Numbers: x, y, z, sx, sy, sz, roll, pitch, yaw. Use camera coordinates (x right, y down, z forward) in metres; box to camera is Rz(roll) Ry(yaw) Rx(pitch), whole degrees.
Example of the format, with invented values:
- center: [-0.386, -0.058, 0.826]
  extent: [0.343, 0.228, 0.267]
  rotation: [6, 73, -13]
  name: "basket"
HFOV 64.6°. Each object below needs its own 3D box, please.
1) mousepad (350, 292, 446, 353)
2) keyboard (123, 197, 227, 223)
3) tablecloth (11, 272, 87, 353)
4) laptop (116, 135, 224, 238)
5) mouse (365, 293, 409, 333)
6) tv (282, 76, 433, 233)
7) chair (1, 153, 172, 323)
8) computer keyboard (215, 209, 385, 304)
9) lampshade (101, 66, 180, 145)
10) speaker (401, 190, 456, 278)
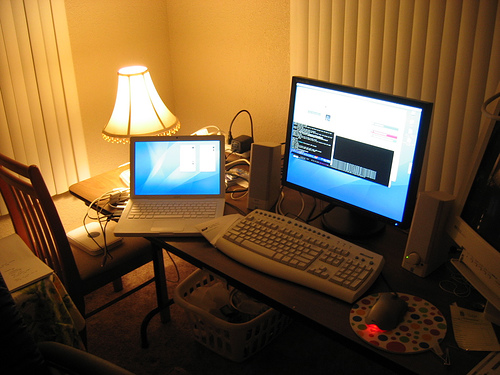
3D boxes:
- center: [0.455, 0.431, 1.233]
  extent: [0.282, 0.077, 0.339]
  rotation: [10, 19, 26]
  name: "mousepad"
- center: [-0.341, 0.097, 1.768]
  extent: [0.428, 0.051, 0.197]
  rotation: [4, 26, 4]
  name: "keyboard"
- center: [-0.728, 0.500, 1.501]
  extent: [0.152, 0.352, 0.223]
  rotation: [23, 32, 37]
  name: "tablecloth"
- center: [-0.338, -0.015, 1.716]
  extent: [0.505, 0.295, 0.445]
  rotation: [6, 26, 12]
  name: "laptop"
- center: [0.451, 0.403, 1.278]
  extent: [0.124, 0.058, 0.214]
  rotation: [2, 15, 41]
  name: "mouse"
- center: [0.408, -0.109, 1.562]
  extent: [0.565, 0.498, 0.095]
  rotation: [29, 38, 36]
  name: "tv"
- center: [-0.756, 0.266, 1.881]
  extent: [0.507, 0.847, 0.426]
  rotation: [-27, 52, -32]
  name: "chair"
- center: [0.166, 0.240, 1.463]
  extent: [0.582, 0.087, 0.253]
  rotation: [19, 31, 29]
  name: "computer keyboard"
- center: [-0.611, -0.429, 2.191]
  extent: [0.347, 0.475, 0.331]
  rotation: [-14, 35, -34]
  name: "lampshade"
- center: [0.610, 0.182, 1.445]
  extent: [0.147, 0.320, 0.148]
  rotation: [-7, 32, -29]
  name: "speaker"
